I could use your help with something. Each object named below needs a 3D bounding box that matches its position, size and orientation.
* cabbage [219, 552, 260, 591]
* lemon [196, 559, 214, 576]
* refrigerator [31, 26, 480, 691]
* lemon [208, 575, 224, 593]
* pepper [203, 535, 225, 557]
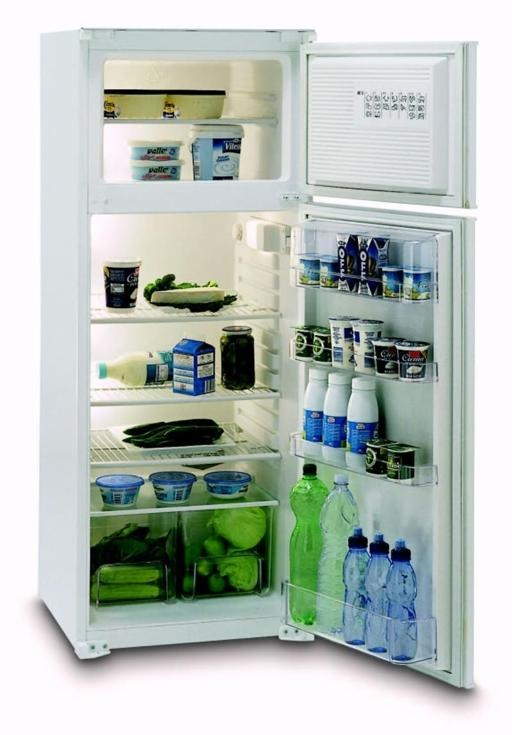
[{"bbox_3d":[-0.054,0.678,2.448,0.127,0.133,0.063,-3,5,-12],"label":"cabbage"},{"bbox_3d":[-0.175,0.683,2.458,0.057,0.054,0.035,6,-4,-31],"label":"lemon"},{"bbox_3d":[-0.042,-0.087,1.999,1.119,2.171,0.585,-11,21,-20],"label":"refrigerator"},{"bbox_3d":[-0.136,0.746,2.452,0.057,0.053,0.057,2,17,-6],"label":"lemon"},{"bbox_3d":[-0.145,0.632,2.508,0.062,0.071,0.060,4,-14,-2],"label":"pepper"}]
